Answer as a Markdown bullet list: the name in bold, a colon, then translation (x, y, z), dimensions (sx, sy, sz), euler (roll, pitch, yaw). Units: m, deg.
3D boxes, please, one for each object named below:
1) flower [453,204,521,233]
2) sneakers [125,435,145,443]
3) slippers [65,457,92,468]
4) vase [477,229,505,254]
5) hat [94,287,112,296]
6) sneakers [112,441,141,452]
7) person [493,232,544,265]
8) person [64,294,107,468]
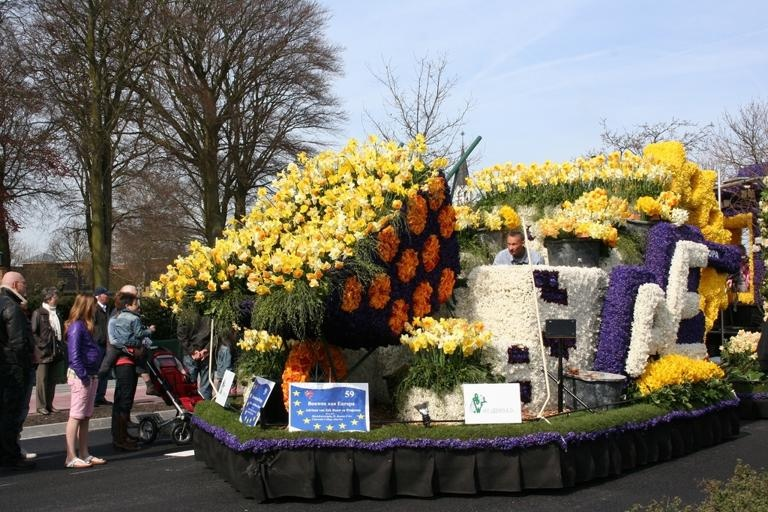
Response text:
- **flower**: translation (2.048, -0.730, 15.638), dimensions (1.271, 0.481, 1.021), euler (-1, 3, 9)
- **sneakers**: translation (-4.815, 3.471, 15.320), dimensions (0.462, 0.194, 0.160), euler (-3, -2, 38)
- **slippers**: translation (-5.300, 3.540, 13.633), dimensions (0.343, 0.140, 0.197), euler (0, -1, 8)
- **vase**: translation (2.140, -0.298, 15.541), dimensions (0.443, 0.491, 0.416), euler (1, 1, 38)
- **hat**: translation (-5.940, 0.799, 16.688), dimensions (0.346, 0.200, 0.230), euler (-6, 15, -19)
- **sneakers**: translation (-4.781, 3.472, 14.703), dimensions (0.518, 0.246, 0.188), euler (0, -1, -5)
- **person**: translation (2.417, 0.041, 14.503), dimensions (0.876, 0.669, 0.598), euler (-1, 2, 32)
- **person**: translation (-5.248, 2.141, 13.714), dimensions (0.652, 2.964, 0.609), euler (-3, 3, -24)
